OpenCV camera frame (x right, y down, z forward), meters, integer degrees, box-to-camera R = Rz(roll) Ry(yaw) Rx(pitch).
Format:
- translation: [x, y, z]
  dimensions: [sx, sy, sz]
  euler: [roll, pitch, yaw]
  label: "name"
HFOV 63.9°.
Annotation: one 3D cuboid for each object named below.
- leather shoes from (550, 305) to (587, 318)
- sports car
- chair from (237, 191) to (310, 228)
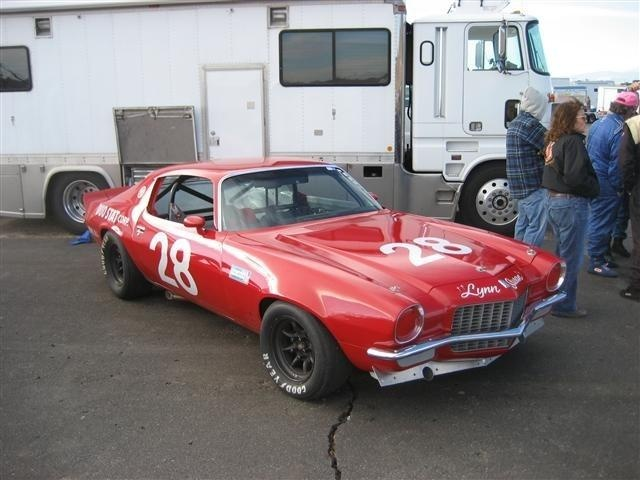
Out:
- translation: [2.746, 0.815, 5.703]
  dimensions: [0.364, 0.174, 0.137]
  euler: [-3, 6, 8]
  label: "leather shoes"
- translation: [-0.487, 0.085, 5.609]
  dimensions: [5.501, 1.877, 2.170]
  euler: [8, 16, 39]
  label: "sports car"
- translation: [-0.482, -0.291, 5.199]
  dimensions: [0.584, 0.349, 0.269]
  euler: [-25, -6, -28]
  label: "chair"
